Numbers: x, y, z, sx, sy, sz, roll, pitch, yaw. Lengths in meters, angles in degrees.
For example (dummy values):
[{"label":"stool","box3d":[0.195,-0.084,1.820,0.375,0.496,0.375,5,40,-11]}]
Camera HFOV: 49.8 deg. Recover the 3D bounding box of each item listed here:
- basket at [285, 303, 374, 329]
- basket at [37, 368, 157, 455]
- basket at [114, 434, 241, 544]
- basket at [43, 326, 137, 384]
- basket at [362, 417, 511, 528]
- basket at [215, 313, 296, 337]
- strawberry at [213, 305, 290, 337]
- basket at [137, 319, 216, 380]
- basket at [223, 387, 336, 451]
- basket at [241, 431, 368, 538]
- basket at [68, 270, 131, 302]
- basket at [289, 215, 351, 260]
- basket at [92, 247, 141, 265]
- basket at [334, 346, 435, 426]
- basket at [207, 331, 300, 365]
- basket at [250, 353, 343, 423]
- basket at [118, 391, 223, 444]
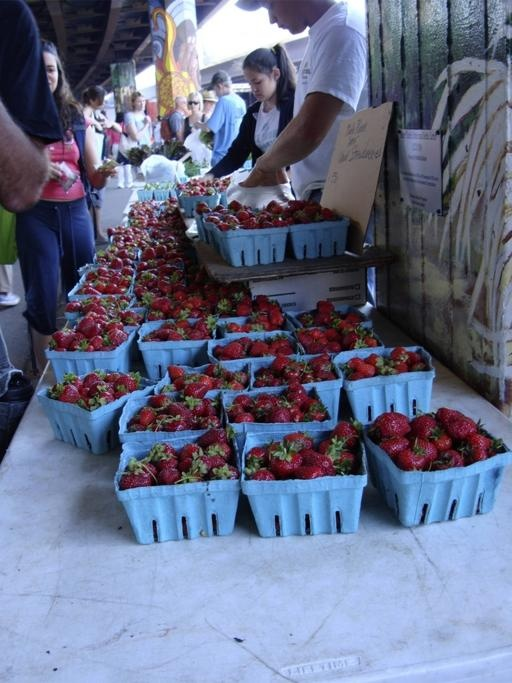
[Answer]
[{"label":"basket","box3d":[0.273,-0.085,2.042,0.172,0.046,0.154,-3,16,-8]},{"label":"basket","box3d":[-0.457,0.192,1.662,0.244,0.172,0.287,11,17,29]},{"label":"basket","box3d":[-0.166,0.305,1.213,0.187,0.106,0.218,-3,17,-5]},{"label":"basket","box3d":[-0.556,0.035,1.910,0.182,0.086,0.254,-1,13,1]},{"label":"basket","box3d":[0.379,0.256,1.146,0.243,0.156,0.263,-7,17,0]},{"label":"basket","box3d":[-0.022,-0.051,2.027,0.164,0.053,0.123,-1,20,-6]},{"label":"strawberry","box3d":[-0.012,-0.063,2.053,0.178,0.058,0.132,-5,28,4]},{"label":"basket","box3d":[-0.297,0.013,2.014,0.213,0.123,0.272,-1,12,-5]},{"label":"basket","box3d":[0.061,0.191,1.418,0.214,0.072,0.161,-2,16,-2]},{"label":"basket","box3d":[0.103,0.312,1.167,0.186,0.109,0.218,-3,15,0]},{"label":"basket","box3d":[-0.760,-0.271,2.752,0.168,0.073,0.288,-5,25,-9]},{"label":"basket","box3d":[0.253,-0.430,2.312,0.247,0.124,0.160,-7,20,-12]},{"label":"basket","box3d":[-0.840,-0.530,3.467,0.208,0.074,0.240,10,17,34]},{"label":"basket","box3d":[0.369,0.116,1.570,0.224,0.116,0.253,-5,22,5]},{"label":"basket","box3d":[-0.011,0.020,1.837,0.201,0.060,0.131,-2,17,1]},{"label":"basket","box3d":[0.123,0.115,1.604,0.227,0.125,0.211,-1,23,-2]},{"label":"basket","box3d":[-0.219,0.183,1.401,0.209,0.068,0.142,-1,18,-2]}]
